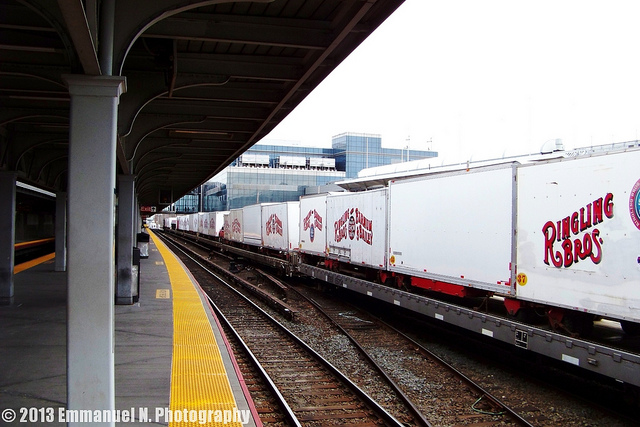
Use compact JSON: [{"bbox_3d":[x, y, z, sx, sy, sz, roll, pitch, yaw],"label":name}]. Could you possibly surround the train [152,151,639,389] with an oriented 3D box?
[{"bbox_3d":[0.068,0.579,24.915,3.590,4.076,32.709,0,2,-18],"label":"train"}]
